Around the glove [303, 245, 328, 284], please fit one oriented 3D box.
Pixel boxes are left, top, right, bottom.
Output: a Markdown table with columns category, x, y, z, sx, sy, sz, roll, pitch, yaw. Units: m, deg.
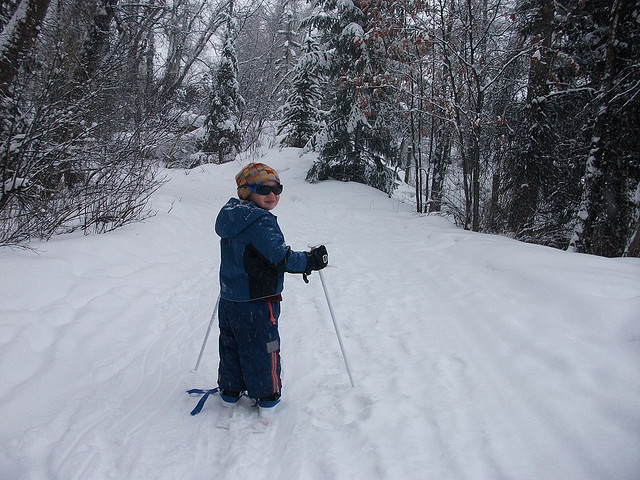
| category | x | y | z | sx | sy | sz | roll | pitch | yaw |
| --- | --- | --- | --- | --- | --- | --- | --- | --- | --- |
| glove | -0.064 | 0.286 | 6.061 | 0.174 | 0.374 | 0.318 | 45 | -14 | 43 |

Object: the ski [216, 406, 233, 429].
| category | x | y | z | sx | sy | sz | roll | pitch | yaw |
| --- | --- | --- | --- | --- | --- | --- | --- | --- | --- |
| ski | -1.173 | 2.191 | 6.095 | 0.172 | 0.256 | 0.143 | 8 | -1 | -9 |

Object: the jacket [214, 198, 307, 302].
| category | x | y | z | sx | sy | sz | roll | pitch | yaw |
| --- | --- | --- | --- | --- | --- | --- | --- | --- | --- |
| jacket | -0.857 | 0.044 | 6.404 | 0.997 | 1.386 | 1.430 | -11 | 17 | -41 |
